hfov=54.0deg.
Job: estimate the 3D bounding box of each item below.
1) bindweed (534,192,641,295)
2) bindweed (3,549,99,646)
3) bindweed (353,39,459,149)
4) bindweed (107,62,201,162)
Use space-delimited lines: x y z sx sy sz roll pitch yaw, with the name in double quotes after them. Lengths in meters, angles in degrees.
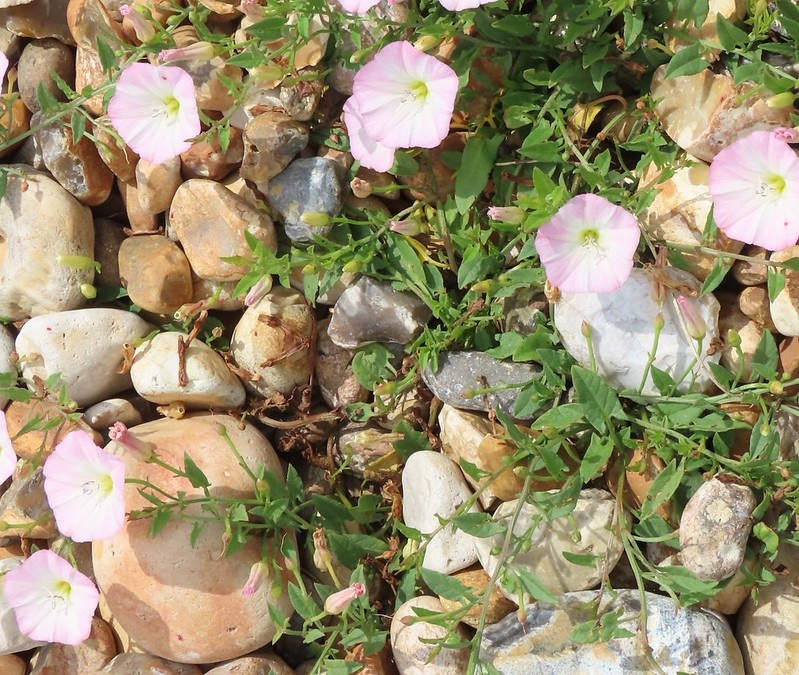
0.443 -0.203 1.936 0.233 0.246 0.191 9 64 5 "bindweed"
-0.969 0.727 2.181 0.249 0.168 0.213 27 67 13 "bindweed"
0.010 -0.618 2.015 0.263 0.188 0.177 10 65 6 "bindweed"
-0.676 -0.624 2.173 0.240 0.168 0.244 -19 65 -8 "bindweed"
